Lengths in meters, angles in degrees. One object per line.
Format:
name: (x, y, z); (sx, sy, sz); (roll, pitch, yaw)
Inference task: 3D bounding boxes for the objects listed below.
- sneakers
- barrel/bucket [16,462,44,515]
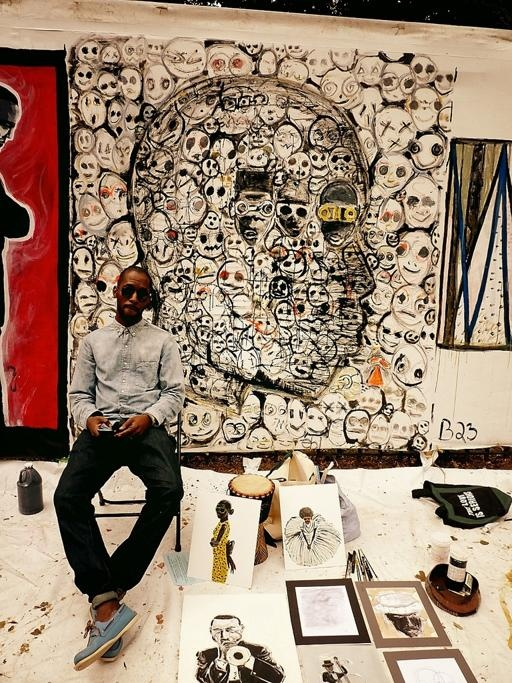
sneakers: (-0.591, 1.173, 2.768); (0.149, 0.117, 0.349); (43, 33, 11)
barrel/bucket: (-1.214, 0.787, 3.662); (0.137, 0.272, 0.145); (5, 11, -1)
